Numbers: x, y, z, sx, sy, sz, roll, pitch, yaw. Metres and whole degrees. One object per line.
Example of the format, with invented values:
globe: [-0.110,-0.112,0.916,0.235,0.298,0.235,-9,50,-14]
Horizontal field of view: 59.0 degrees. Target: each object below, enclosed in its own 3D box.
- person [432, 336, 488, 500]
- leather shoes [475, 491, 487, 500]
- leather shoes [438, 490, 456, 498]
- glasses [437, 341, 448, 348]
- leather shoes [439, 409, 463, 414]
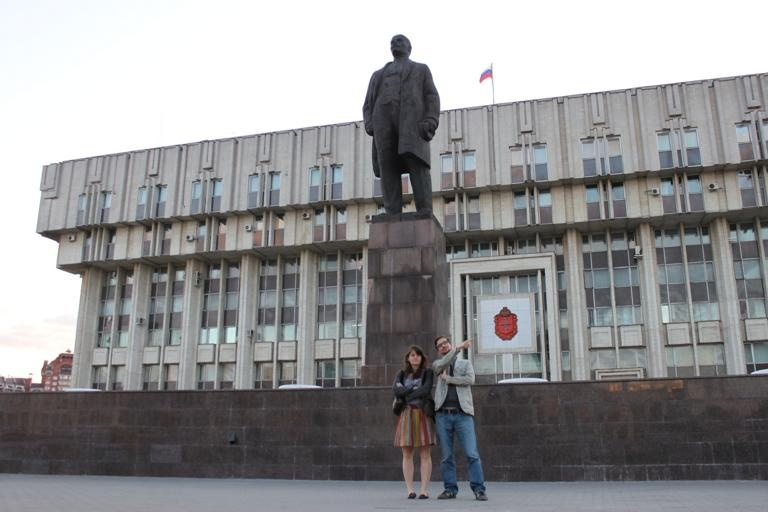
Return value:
person: [1.308,2.828,12.130,0.849,2.861,0.733,-4,-14,6]
leather shoes: [1.682,4.123,11.718,0.200,0.130,0.127,-3,-13,3]
leather shoes: [1.118,4.174,11.907,0.346,0.127,0.121,-1,-16,14]
glasses: [1.049,1.565,12.235,0.140,0.041,0.138,-12,-34,12]
leather shoes: [1.208,2.761,12.124,0.423,0.094,0.074,-2,-13,-2]
